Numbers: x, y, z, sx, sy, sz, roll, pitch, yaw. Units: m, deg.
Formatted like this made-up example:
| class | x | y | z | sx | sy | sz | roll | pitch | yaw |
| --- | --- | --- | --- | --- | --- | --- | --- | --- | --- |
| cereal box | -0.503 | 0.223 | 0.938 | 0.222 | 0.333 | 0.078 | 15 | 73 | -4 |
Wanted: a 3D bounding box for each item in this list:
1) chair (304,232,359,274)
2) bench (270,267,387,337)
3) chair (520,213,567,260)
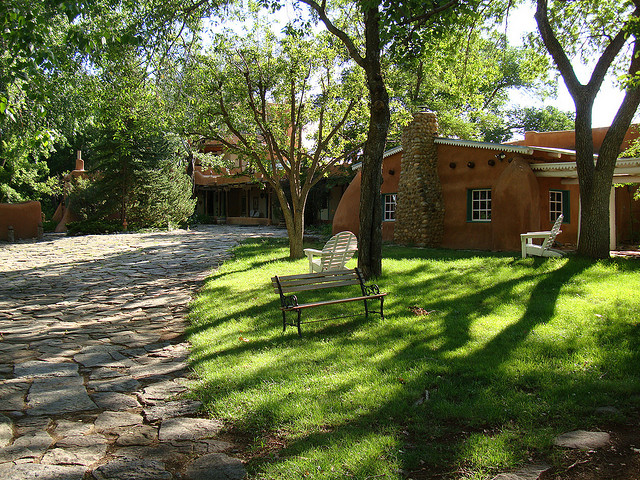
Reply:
| class | x | y | z | sx | sy | sz | roll | pitch | yaw |
| --- | --- | --- | --- | --- | --- | --- | --- | --- | --- |
| chair | 0.245 | 0.318 | 10.441 | 0.980 | 1.052 | 1.154 | -6 | 7 | -43 |
| bench | 0.181 | 1.008 | 8.020 | 1.942 | 0.929 | 0.709 | -4 | 3 | -33 |
| chair | 5.523 | -0.044 | 12.195 | 1.015 | 1.059 | 0.898 | -2 | -2 | 39 |
